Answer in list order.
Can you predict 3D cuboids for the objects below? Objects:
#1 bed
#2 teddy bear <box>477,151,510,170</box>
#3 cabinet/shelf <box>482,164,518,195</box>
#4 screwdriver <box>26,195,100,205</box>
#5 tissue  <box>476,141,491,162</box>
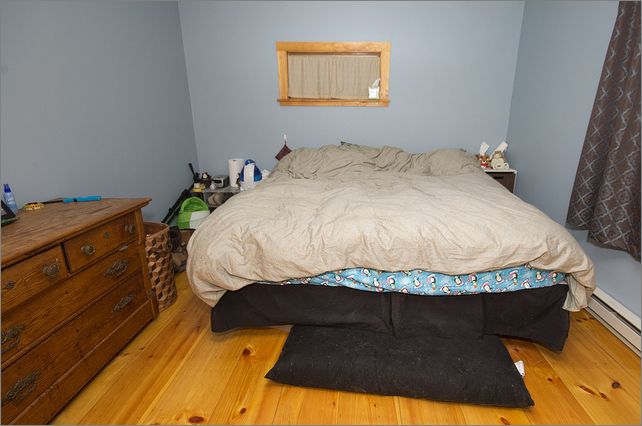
[{"bbox_3d":[0.503,0.284,3.362,2.794,1.004,1.424,3,21,3],"label":"bed"},{"bbox_3d":[2.000,-0.585,4.484,0.243,0.139,0.313,-1,11,7],"label":"teddy bear"},{"bbox_3d":[2.031,-0.409,4.519,0.432,0.413,0.249,0,18,9],"label":"cabinet/shelf"},{"bbox_3d":[-1.989,-0.101,2.998,0.416,0.036,0.061,-4,10,-15],"label":"screwdriver"},{"bbox_3d":[1.917,-0.737,4.640,0.155,0.223,0.068,44,22,18],"label":"tissue "}]
